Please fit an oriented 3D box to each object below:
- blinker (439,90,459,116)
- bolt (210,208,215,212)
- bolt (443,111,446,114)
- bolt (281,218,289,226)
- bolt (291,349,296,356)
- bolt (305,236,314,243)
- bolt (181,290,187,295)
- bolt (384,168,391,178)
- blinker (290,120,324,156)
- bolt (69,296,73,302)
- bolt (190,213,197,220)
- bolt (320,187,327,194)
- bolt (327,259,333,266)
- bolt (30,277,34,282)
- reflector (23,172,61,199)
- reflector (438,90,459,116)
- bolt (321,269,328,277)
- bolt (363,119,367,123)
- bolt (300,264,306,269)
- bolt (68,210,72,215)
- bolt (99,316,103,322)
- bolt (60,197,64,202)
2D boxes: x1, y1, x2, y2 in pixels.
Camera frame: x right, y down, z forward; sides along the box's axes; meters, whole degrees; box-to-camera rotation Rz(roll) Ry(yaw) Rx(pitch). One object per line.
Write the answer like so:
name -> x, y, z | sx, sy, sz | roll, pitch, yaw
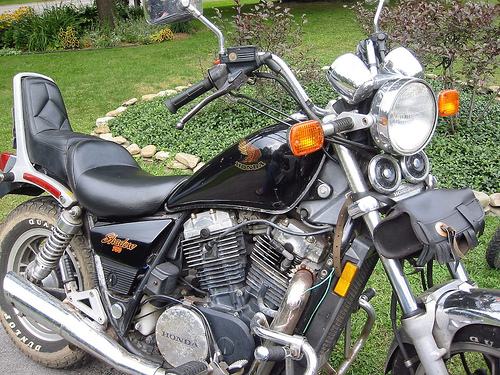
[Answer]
blinker -> 0.972, -0.411, 2.017 | 0.038, 0.115, 0.116 | 2, -1, -19
bolt -> -0.206, 0.121, 2.242 | 0.017, 0.017, 0.004 | 6, -8, -8
bolt -> 0.940, -0.364, 2.018 | 0.013, 0.013, 0.003 | 4, 1, 4
bolt -> 0.179, 0.177, 2.129 | 0.026, 0.036, 0.008 | 27, -3, 35
bolt -> 0.210, 0.791, 1.999 | 0.017, 0.031, 0.005 | 4, 25, 11
bolt -> 0.298, 0.259, 2.080 | 0.040, 0.032, 0.016 | 0, 24, 1
bolt -> -0.391, 0.610, 2.433 | 0.018, 0.025, 0.006 | 15, -3, 1
bolt -> 0.641, -0.066, 1.954 | 0.040, 0.038, 0.010 | -12, -4, -33
blinker -> 0.245, -0.215, 1.797 | 0.164, 0.131, 0.039 | -15, 28, -29
bolt -> -1.130, 0.701, 2.628 | 0.029, 0.030, 0.009 | 2, 0, 18
bolt -> -0.310, 0.155, 2.274 | 0.026, 0.024, 0.026 | -2, 3, -3
bolt -> 0.359, 0.014, 2.045 | 0.030, 0.031, 0.007 | 1, -7, 26
bolt -> 0.389, 0.365, 2.044 | 0.025, 0.026, 0.009 | -6, -11, 34
bolt -> -1.430, 0.604, 2.733 | 0.023, 0.022, 0.023 | 0, 6, -24
reflector -> -1.357, -0.018, 2.747 | 0.201, 0.048, 0.193 | 30, -6, 15
reflector -> 0.961, -0.414, 2.036 | 0.131, 0.130, 0.042 | -14, 18, -20
bolt -> 0.365, 0.419, 2.050 | 0.032, 0.034, 0.019 | 3, 25, 9
bolt -> 0.507, -0.294, 1.842 | 0.016, 0.016, 0.004 | 2, -2, 14
bolt -> 0.267, 0.396, 2.100 | 0.025, 0.022, 0.011 | 5, 25, 13
bolt -> -1.128, 0.154, 2.611 | 0.019, 0.026, 0.008 | 2, -6, 19
bolt -> -0.908, 0.800, 2.529 | 0.023, 0.024, 0.010 | -5, -4, 21
bolt -> -1.197, 0.074, 2.642 | 0.018, 0.027, 0.009 | 1, -1, 4
